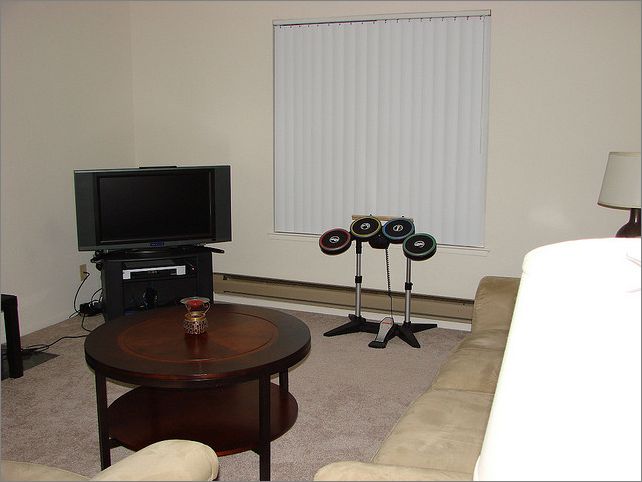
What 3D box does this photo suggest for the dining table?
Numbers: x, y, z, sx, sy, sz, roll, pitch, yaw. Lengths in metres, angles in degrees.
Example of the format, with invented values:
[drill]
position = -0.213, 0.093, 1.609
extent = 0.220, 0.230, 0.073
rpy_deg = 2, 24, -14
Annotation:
[dining table]
position = -0.548, 0.581, 2.560
extent = 0.803, 0.521, 0.801
rpy_deg = 4, 21, 6

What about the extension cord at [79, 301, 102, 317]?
[extension cord]
position = -2.045, 0.589, 4.672
extent = 0.197, 0.078, 0.145
rpy_deg = -4, 18, -34
